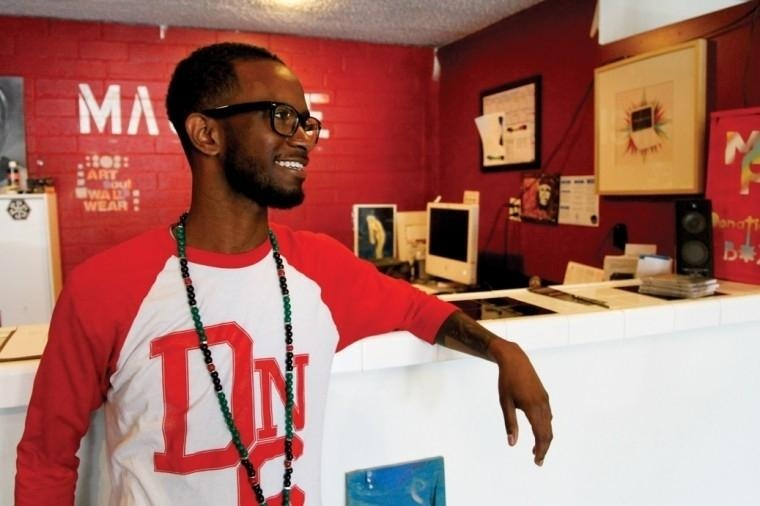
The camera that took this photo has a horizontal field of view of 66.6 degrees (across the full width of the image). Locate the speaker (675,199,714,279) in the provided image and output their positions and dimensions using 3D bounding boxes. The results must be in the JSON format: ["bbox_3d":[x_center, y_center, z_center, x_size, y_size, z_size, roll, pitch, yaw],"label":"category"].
[{"bbox_3d":[1.311,-0.062,2.418,0.146,0.313,0.065,3,7,25],"label":"speaker"}]

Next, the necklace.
[{"bbox_3d":[-0.385,0.283,1.549,0.294,0.759,0.247,-3,7,-19],"label":"necklace"}]

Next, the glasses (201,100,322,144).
[{"bbox_3d":[-0.307,-0.362,1.541,0.163,0.047,0.162,3,3,21],"label":"glasses"}]

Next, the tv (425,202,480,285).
[{"bbox_3d":[0.465,-0.052,3.758,0.250,0.558,0.571,0,2,-28],"label":"tv"}]

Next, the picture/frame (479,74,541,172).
[{"bbox_3d":[0.915,-0.900,4.008,0.079,0.707,0.776,-2,5,-25],"label":"picture/frame"}]

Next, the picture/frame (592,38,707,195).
[{"bbox_3d":[1.340,-0.648,2.903,0.091,0.700,0.638,-4,7,-25],"label":"picture/frame"}]

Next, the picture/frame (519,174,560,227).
[{"bbox_3d":[1.041,-0.336,3.747,0.025,0.341,0.348,-1,7,-24],"label":"picture/frame"}]
